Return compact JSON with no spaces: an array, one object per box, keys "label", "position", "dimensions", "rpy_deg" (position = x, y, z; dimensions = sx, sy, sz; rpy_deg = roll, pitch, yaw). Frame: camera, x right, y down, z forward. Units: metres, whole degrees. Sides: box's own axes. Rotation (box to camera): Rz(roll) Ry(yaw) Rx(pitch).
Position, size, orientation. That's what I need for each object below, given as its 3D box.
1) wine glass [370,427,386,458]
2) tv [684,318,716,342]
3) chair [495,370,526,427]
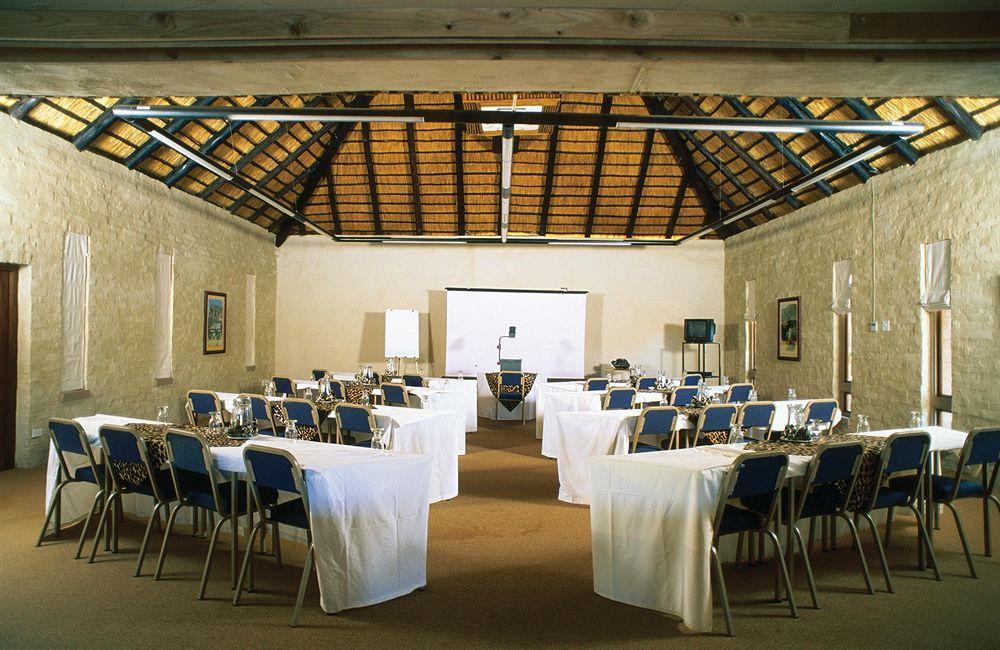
[{"label":"wine glass","position":[-1.052,0.936,5.669],"dimensions":[0.169,0.147,0.198],"rpy_deg":[1,-18,-9]},{"label":"tv","position":[4.559,0.130,15.447],"dimensions":[0.597,0.513,0.429],"rpy_deg":[-2,-5,28]},{"label":"chair","position":[0.179,1.281,12.591],"dimensions":[0.534,0.952,0.469],"rpy_deg":[0,13,-1]}]
